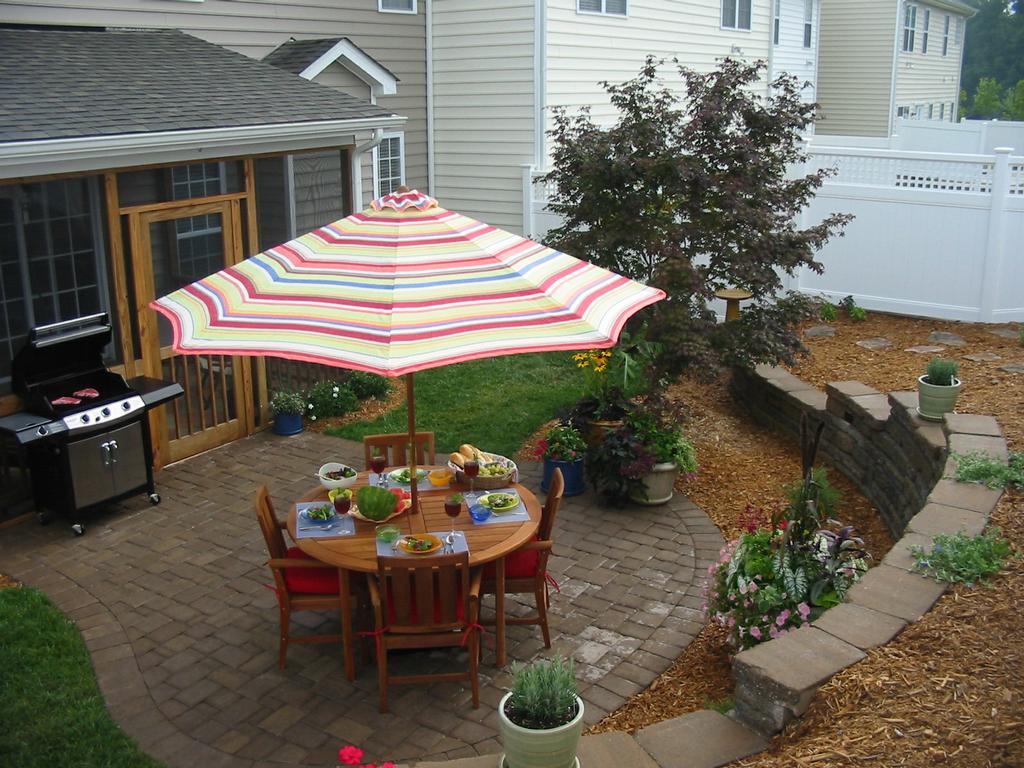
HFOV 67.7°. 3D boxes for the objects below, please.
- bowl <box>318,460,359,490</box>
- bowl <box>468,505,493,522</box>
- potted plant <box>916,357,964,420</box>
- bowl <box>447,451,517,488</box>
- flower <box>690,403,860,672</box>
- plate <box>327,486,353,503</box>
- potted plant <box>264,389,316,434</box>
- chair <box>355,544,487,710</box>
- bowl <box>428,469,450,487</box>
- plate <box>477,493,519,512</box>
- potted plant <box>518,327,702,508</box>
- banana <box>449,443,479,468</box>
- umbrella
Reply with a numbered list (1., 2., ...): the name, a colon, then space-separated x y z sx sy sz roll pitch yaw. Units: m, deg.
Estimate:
1. bowl: -1.567 0.820 6.879 0.311 0.114 0.256 -2 22 -5
2. bowl: -0.264 1.048 6.217 0.152 0.065 0.127 0 13 -1
3. potted plant: 4.337 0.065 7.737 0.347 0.624 0.472 8 20 25
4. bowl: -0.244 0.771 6.755 0.461 0.110 0.384 1 11 1
5. flower: 2.065 1.084 5.539 0.977 1.821 0.954 -4 18 -7
6. plate: -1.421 0.912 6.158 0.237 0.071 0.197 1 15 3
7. potted plant: -2.929 0.347 10.494 0.740 0.531 0.642 -1 12 -2
8. chair: -0.650 1.767 5.717 0.840 1.216 0.572 -2 18 -3
9. bowl: -0.648 0.838 6.828 0.173 0.087 0.148 -4 11 -19
10. plate: -0.118 0.980 6.405 0.213 0.051 0.182 4 8 17
11. potted plant: 0.965 0.373 8.905 1.003 1.454 1.998 -7 40 -5
12. banana: -0.426 0.645 6.929 0.253 0.079 0.218 -7 7 6
13. umbrella: -0.764 -0.334 5.245 2.198 1.109 1.915 -9 22 -23
